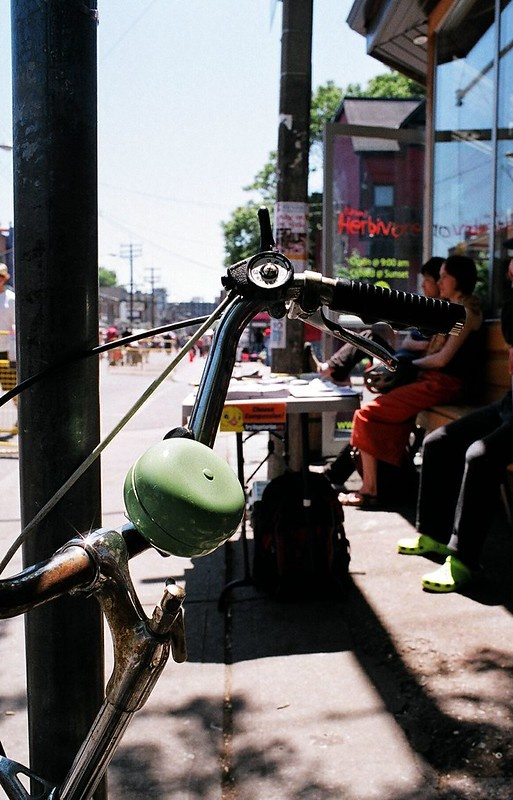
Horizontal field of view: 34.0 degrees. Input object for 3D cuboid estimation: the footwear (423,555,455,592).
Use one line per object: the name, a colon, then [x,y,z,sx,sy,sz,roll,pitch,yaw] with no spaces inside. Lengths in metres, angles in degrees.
footwear: [0.797,0.781,3.696,0.099,0.114,0.175,-14,-29,35]

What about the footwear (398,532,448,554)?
footwear: [0.828,0.740,4.309,0.286,0.116,0.094,4,-6,6]

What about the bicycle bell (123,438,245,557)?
bicycle bell: [-0.090,0.130,1.160,0.170,0.091,0.166,27,25,-10]

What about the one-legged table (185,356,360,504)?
one-legged table: [0.104,0.093,4.109,0.804,0.731,0.775,-1,3,-10]
